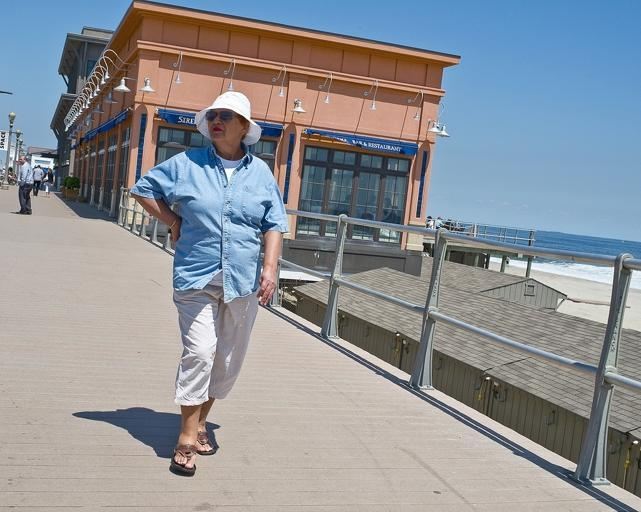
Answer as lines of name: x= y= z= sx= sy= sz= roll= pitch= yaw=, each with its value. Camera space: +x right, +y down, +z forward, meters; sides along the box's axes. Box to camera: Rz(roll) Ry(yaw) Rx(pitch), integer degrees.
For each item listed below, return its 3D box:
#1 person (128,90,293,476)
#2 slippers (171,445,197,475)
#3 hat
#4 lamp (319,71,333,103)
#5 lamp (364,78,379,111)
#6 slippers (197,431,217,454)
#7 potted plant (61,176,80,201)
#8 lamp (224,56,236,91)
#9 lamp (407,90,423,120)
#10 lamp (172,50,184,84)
person: x=-0.649 y=0.079 z=2.981 sx=0.860 sy=2.013 sz=0.580 roll=8 pitch=1 yaw=-5
slippers: x=-0.734 y=1.079 z=2.764 sx=0.146 sy=0.145 sz=0.115 roll=8 pitch=1 yaw=-4
hat: x=-0.509 y=-0.890 z=3.174 sx=0.351 sy=0.217 sz=0.395 roll=7 pitch=-28 yaw=12
lamp: x=0.261 y=-7.956 z=24.474 sx=0.560 sy=1.430 sz=0.327 roll=8 pitch=1 yaw=-6
lamp: x=2.481 y=-7.750 z=24.979 sx=0.683 sy=1.449 sz=0.350 roll=8 pitch=1 yaw=-7
slippers: x=-0.682 y=1.111 z=3.080 sx=0.139 sy=0.098 sz=0.356 roll=0 pitch=-9 yaw=-10
potted plant: x=-17.927 y=-4.869 z=37.272 sx=0.820 sy=1.489 sz=1.607 roll=7 pitch=2 yaw=-32
lamp: x=-4.024 y=-8.039 z=22.903 sx=0.499 sy=1.367 sz=1.516 roll=7 pitch=2 yaw=-12
lamp: x=4.682 y=-7.413 z=25.511 sx=0.757 sy=1.446 sz=0.254 roll=7 pitch=1 yaw=-16
lamp: x=-6.285 y=-8.270 z=22.841 sx=0.451 sy=1.309 sz=0.267 roll=7 pitch=1 yaw=-18
